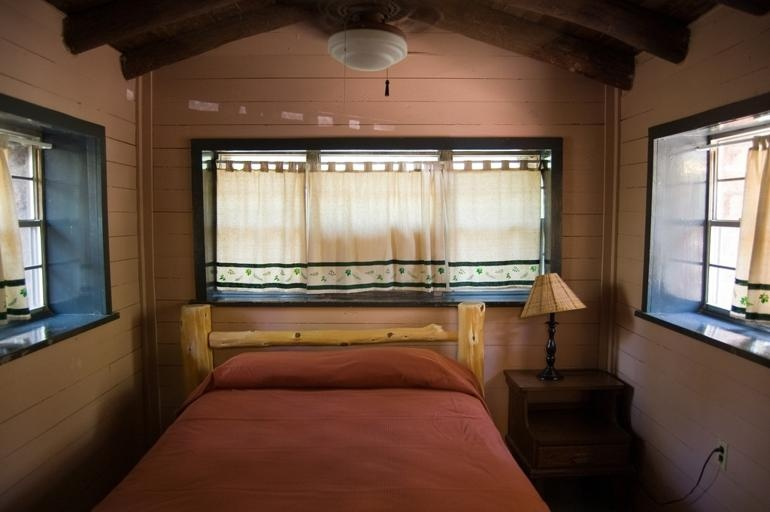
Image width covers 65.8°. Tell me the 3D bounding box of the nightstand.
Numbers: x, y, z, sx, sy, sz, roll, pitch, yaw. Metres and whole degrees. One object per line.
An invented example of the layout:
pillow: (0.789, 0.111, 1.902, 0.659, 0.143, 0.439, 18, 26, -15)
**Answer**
nightstand: (1.341, 1.363, 4.630, 0.976, 0.931, 0.951, -1, -2, 1)

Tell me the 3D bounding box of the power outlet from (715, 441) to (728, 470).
power outlet: (2.093, 1.243, 3.691, 0.019, 0.170, 0.060, -4, 6, -17)
